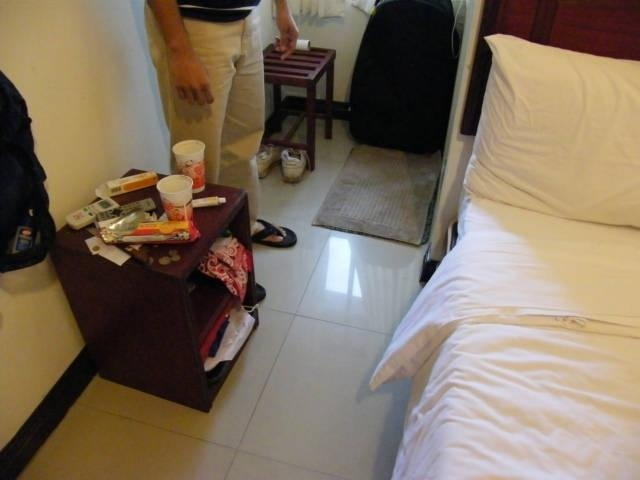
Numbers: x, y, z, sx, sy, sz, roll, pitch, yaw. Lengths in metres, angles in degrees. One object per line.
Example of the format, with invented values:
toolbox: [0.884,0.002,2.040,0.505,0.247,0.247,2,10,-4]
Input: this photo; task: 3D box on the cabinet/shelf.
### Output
cabinet/shelf: [-0.548,0.181,1.776,0.480,0.651,0.469,11,40,14]

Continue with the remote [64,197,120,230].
remote: [-0.723,-0.093,1.575,0.083,0.039,0.159,39,54,23]

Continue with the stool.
stool: [-0.128,-0.778,2.896,0.391,0.572,0.593,9,55,5]

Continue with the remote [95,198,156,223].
remote: [-0.617,-0.097,1.569,0.137,0.022,0.079,-20,51,-22]

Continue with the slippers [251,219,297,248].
slippers: [-0.224,-0.018,2.401,0.211,0.070,0.115,8,50,2]

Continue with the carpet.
carpet: [0.300,-0.226,2.731,0.715,0.021,1.006,-6,23,11]

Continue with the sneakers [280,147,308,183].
sneakers: [-0.161,-0.424,2.809,0.124,0.169,0.163,3,27,-2]
